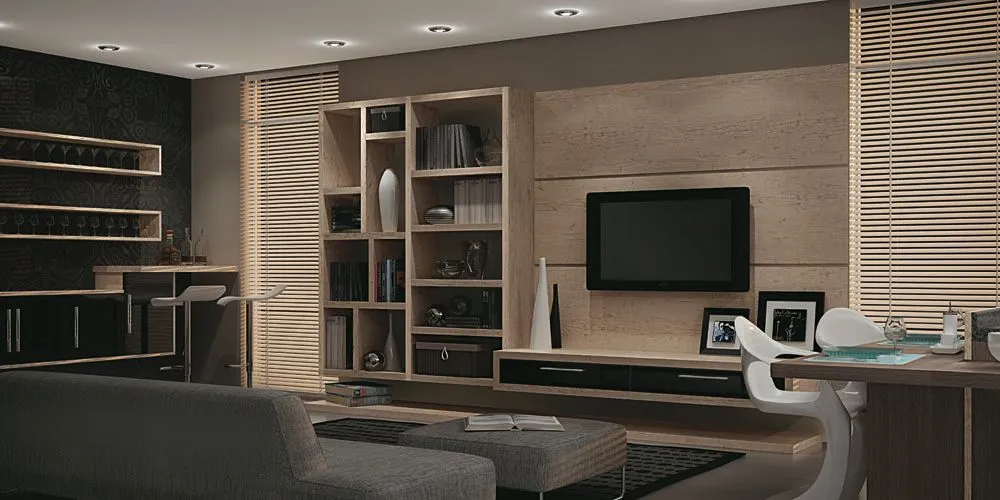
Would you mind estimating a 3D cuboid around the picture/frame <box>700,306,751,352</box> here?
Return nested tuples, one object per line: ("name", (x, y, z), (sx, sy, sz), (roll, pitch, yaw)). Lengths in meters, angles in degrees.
("picture/frame", (2.200, 0.760, 6.354), (0.657, 0.508, 0.068), (0, -6, 24))

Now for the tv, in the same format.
("tv", (1.824, -0.133, 6.818), (1.502, 0.678, 0.136), (0, 0, 18))

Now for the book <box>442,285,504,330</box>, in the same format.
("book", (-0.289, 0.630, 7.428), (0.817, 0.438, 0.376), (-1, -2, 18))

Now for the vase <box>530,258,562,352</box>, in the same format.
("vase", (0.460, 0.569, 7.166), (0.255, 0.993, 0.375), (-1, -2, 15))

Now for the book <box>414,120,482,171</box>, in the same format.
("book", (-0.584, -1.153, 7.376), (0.745, 0.498, 0.279), (0, -2, -3))

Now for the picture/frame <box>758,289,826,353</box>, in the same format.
("picture/frame", (2.811, 0.672, 6.247), (0.759, 0.593, 0.054), (2, -5, 26))

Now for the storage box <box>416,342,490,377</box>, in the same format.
("storage box", (-0.830, 1.245, 7.508), (0.629, 0.356, 0.970), (-16, -19, 42))

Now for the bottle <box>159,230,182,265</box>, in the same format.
("bottle", (-4.381, -0.058, 8.759), (0.220, 0.480, 0.489), (1, -2, -26))
